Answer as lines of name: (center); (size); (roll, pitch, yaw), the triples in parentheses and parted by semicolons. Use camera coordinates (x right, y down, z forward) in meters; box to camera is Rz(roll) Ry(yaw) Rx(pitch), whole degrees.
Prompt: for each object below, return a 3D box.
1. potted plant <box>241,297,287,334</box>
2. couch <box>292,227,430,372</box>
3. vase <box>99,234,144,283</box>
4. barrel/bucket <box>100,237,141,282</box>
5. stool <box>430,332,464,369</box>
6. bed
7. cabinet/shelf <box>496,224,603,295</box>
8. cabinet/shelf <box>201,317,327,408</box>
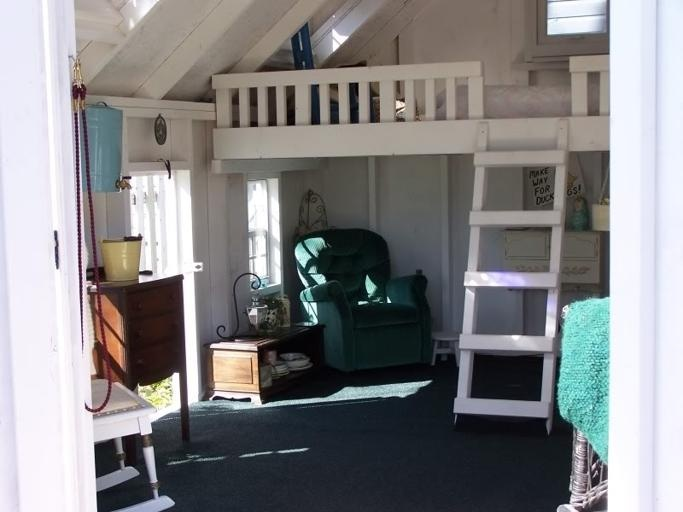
potted plant: (-0.626, 0.509, 5.075); (0.238, 0.289, 0.332); (-1, -2, 5)
couch: (0.261, 0.381, 5.888); (1.163, 1.528, 1.259); (-4, -4, -22)
vase: (-1.290, 0.019, 3.506); (0.230, 0.277, 0.235); (0, -1, -21)
barrel/bucket: (-1.275, 0.020, 3.516); (0.230, 0.251, 0.230); (1, 0, 0)
stool: (1.032, 0.887, 5.710); (0.331, 0.306, 0.334); (0, -7, 28)
bed: (0.401, -1.072, 4.426); (2.943, 0.665, 0.337); (1, 7, 15)
cabinet/shelf: (1.986, 0.017, 5.635); (0.851, 0.569, 0.367); (2, 7, 22)
cabinet/shelf: (-0.635, 0.866, 5.131); (0.557, 0.480, 1.068); (4, 9, 33)
